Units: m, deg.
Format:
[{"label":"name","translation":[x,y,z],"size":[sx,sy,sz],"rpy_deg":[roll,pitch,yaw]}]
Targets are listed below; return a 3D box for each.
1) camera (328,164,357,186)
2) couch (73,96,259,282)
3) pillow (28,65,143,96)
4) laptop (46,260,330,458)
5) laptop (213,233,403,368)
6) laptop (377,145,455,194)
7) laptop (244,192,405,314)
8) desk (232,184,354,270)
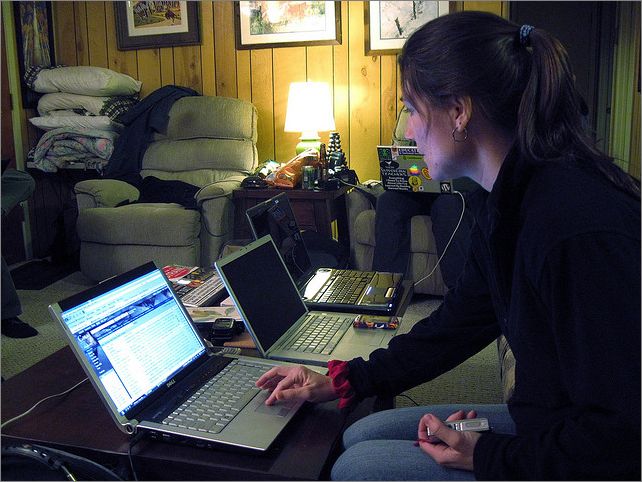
[{"label":"camera","translation":[0.162,-0.454,3.539],"size":[0.188,0.058,0.135],"rpy_deg":[4,25,-20]},{"label":"couch","translation":[-1.118,-0.419,3.739],"size":[1.299,1.341,1.337],"rpy_deg":[-5,11,-29]},{"label":"pillow","translation":[-2.069,-1.369,4.423],"size":[0.907,0.241,0.938],"rpy_deg":[7,18,21]},{"label":"laptop","translation":[-0.298,0.260,1.075],"size":[0.370,0.235,0.383],"rpy_deg":[9,15,7]},{"label":"laptop","translation":[-0.047,0.180,1.341],"size":[0.372,0.241,0.355],"rpy_deg":[2,15,16]},{"label":"laptop","translation":[0.615,-0.483,2.987],"size":[0.438,0.313,0.359],"rpy_deg":[6,35,28]},{"label":"laptop","translation":[0.035,0.028,1.752],"size":[0.540,0.347,0.515],"rpy_deg":[5,12,23]},{"label":"desk","translation":[-0.180,-0.065,3.509],"size":[0.593,0.599,0.612],"rpy_deg":[-1,3,6]}]
